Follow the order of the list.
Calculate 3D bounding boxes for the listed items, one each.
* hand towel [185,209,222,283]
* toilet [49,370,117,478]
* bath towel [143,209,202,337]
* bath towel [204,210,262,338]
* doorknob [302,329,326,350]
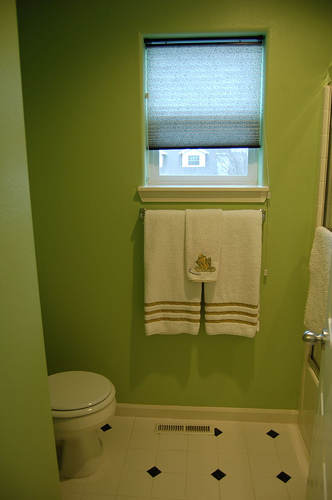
[{"bbox_3d":[0.168,-0.019,1.761,0.161,0.323,0.050,1,7,16],"label":"hand towel"},{"bbox_3d":[-0.364,0.775,1.701,0.272,0.397,0.366,-4,8,-21],"label":"toilet"},{"bbox_3d":[0.013,0.120,1.818,0.250,0.629,0.078,-1,5,6],"label":"bath towel"},{"bbox_3d":[0.328,0.108,1.736,0.237,0.624,0.100,1,11,-2],"label":"bath towel"},{"bbox_3d":[0.390,0.226,1.014,0.052,0.052,0.047,5,29,-1],"label":"doorknob"}]
